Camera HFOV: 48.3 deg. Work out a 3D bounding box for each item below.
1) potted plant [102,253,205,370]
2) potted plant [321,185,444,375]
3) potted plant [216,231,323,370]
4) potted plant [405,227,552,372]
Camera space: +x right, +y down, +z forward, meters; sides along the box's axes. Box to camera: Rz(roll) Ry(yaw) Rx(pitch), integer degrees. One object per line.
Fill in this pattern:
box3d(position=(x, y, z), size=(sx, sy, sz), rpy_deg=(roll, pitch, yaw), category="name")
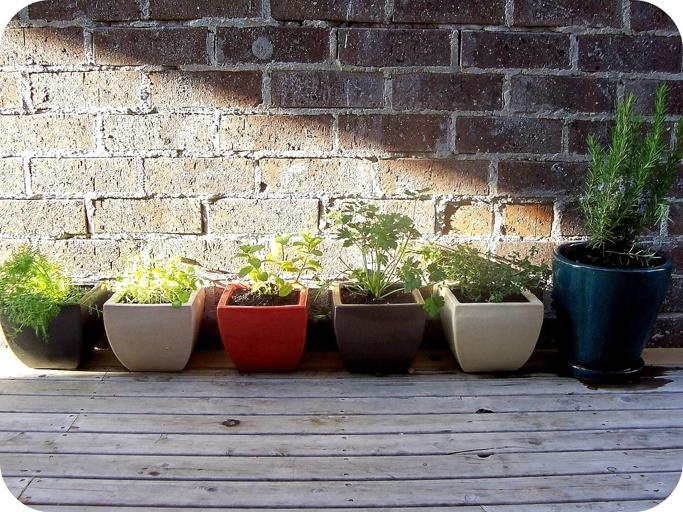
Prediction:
box3d(position=(-0.542, 0.161, 2.230), size=(0.258, 0.327, 0.234), rpy_deg=(2, 12, -4), category="potted plant")
box3d(position=(0.118, 0.063, 2.199), size=(0.346, 0.528, 0.308), rpy_deg=(2, 12, -2), category="potted plant")
box3d(position=(-0.202, 0.123, 2.224), size=(0.281, 0.409, 0.255), rpy_deg=(2, 12, -1), category="potted plant")
box3d(position=(0.414, 0.154, 2.226), size=(0.359, 0.270, 0.264), rpy_deg=(4, 16, -5), category="potted plant")
